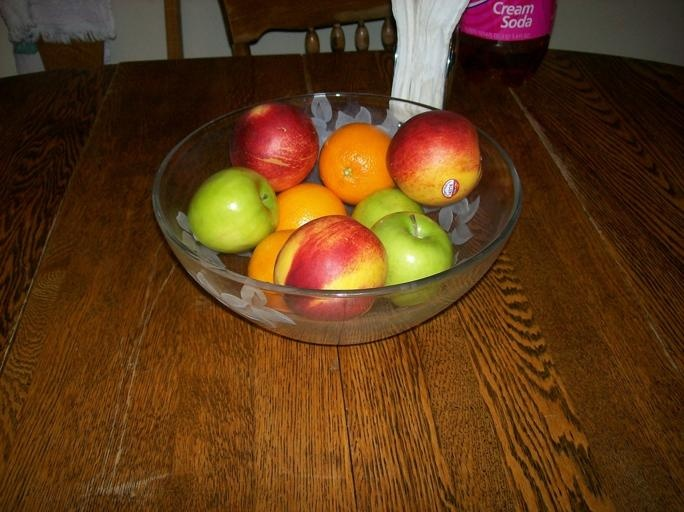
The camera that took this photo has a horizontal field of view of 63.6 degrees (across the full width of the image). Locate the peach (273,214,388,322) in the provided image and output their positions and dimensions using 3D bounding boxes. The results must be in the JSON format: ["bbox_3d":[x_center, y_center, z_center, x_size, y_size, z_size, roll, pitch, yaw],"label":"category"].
[{"bbox_3d":[-0.008,0.003,0.672,0.106,0.111,0.139,-11,33,-23],"label":"peach"}]

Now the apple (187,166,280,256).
[{"bbox_3d":[-0.149,-0.059,0.771,0.105,0.118,0.113,2,30,-3],"label":"apple"}]

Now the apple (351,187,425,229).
[{"bbox_3d":[0.066,-0.070,0.748,0.069,0.069,0.068,-7,50,-22],"label":"apple"}]

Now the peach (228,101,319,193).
[{"bbox_3d":[-0.092,-0.156,0.770,0.120,0.114,0.098,-12,35,-18],"label":"peach"}]

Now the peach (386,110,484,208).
[{"bbox_3d":[0.128,-0.144,0.758,0.117,0.126,0.117,12,31,17],"label":"peach"}]

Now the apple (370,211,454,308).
[{"bbox_3d":[0.088,-0.004,0.732,0.098,0.109,0.106,3,28,-1],"label":"apple"}]

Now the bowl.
[{"bbox_3d":[-0.007,-0.012,0.877,0.442,0.383,0.425,0,30,0],"label":"bowl"}]
